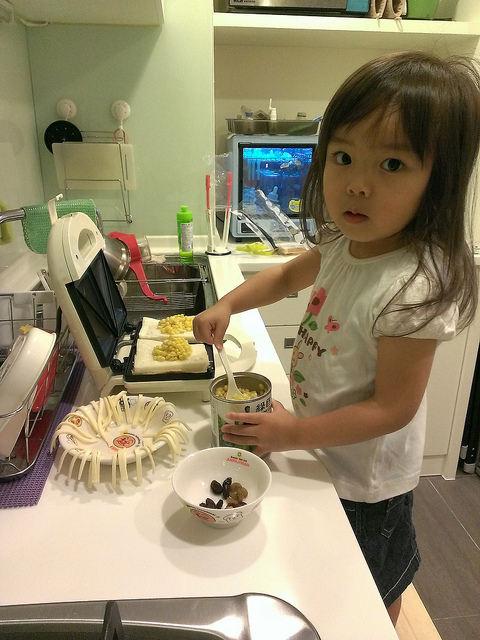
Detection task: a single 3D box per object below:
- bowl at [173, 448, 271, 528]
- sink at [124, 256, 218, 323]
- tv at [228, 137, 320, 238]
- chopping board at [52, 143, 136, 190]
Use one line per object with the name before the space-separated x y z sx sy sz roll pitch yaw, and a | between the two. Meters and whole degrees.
bowl | -0.021 0.206 0.513 0.115 0.070 0.115 -1 26 0
sink | -0.267 -0.124 1.643 0.308 0.158 0.424 1 -4 -1
tv | 0.176 -0.537 1.961 0.397 0.261 0.524 0 70 4
chopping board | -0.555 -0.589 1.619 0.289 0.177 0.047 -5 24 -7
